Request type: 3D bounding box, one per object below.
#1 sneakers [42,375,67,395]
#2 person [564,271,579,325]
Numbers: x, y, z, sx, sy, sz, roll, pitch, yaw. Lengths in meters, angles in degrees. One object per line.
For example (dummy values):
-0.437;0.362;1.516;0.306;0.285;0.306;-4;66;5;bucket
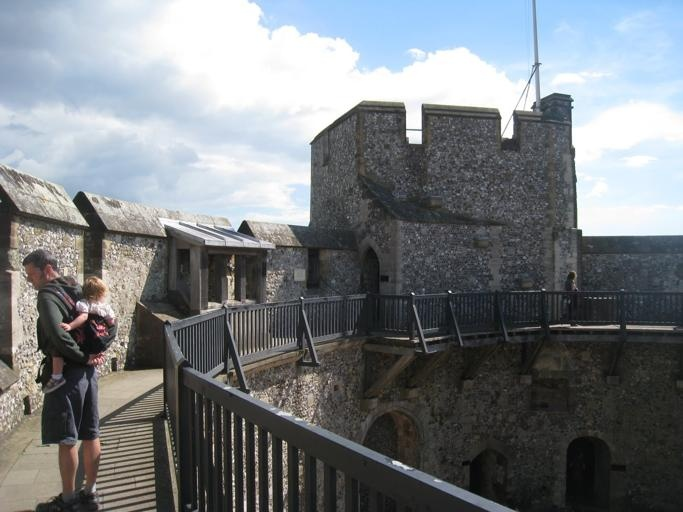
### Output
-3.844;1.705;9.596;0.367;0.160;0.137;-32;5;3;sneakers
5.993;1.090;18.564;0.293;1.411;0.880;0;0;16;person
